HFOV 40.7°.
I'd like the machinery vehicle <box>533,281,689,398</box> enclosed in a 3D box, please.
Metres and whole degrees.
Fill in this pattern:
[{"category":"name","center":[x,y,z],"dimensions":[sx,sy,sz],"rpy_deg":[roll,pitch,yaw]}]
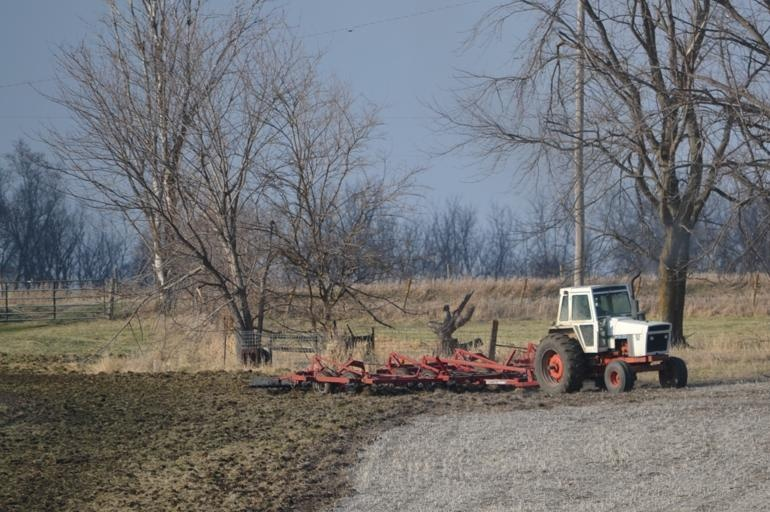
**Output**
[{"category":"machinery vehicle","center":[6.078,2.351,28.691],"dimensions":[2.755,3.178,3.956],"rpy_deg":[4,-8,-38]}]
